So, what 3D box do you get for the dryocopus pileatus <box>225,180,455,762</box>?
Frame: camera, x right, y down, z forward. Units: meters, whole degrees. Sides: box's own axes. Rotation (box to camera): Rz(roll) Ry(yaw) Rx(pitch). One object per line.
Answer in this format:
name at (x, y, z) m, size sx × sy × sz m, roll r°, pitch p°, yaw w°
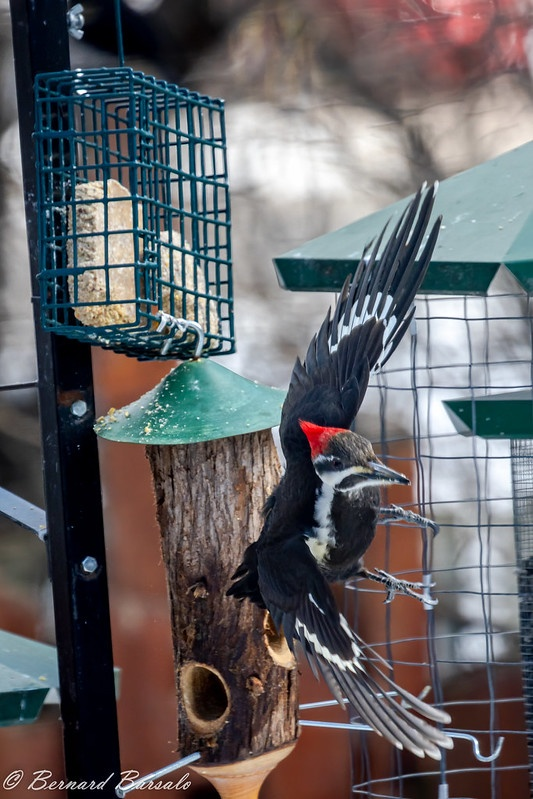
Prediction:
dryocopus pileatus at (0.108, 0.306, 4.385) m, size 0.688 × 0.730 × 1.467 m, roll -3°, pitch 57°, yaw 13°
